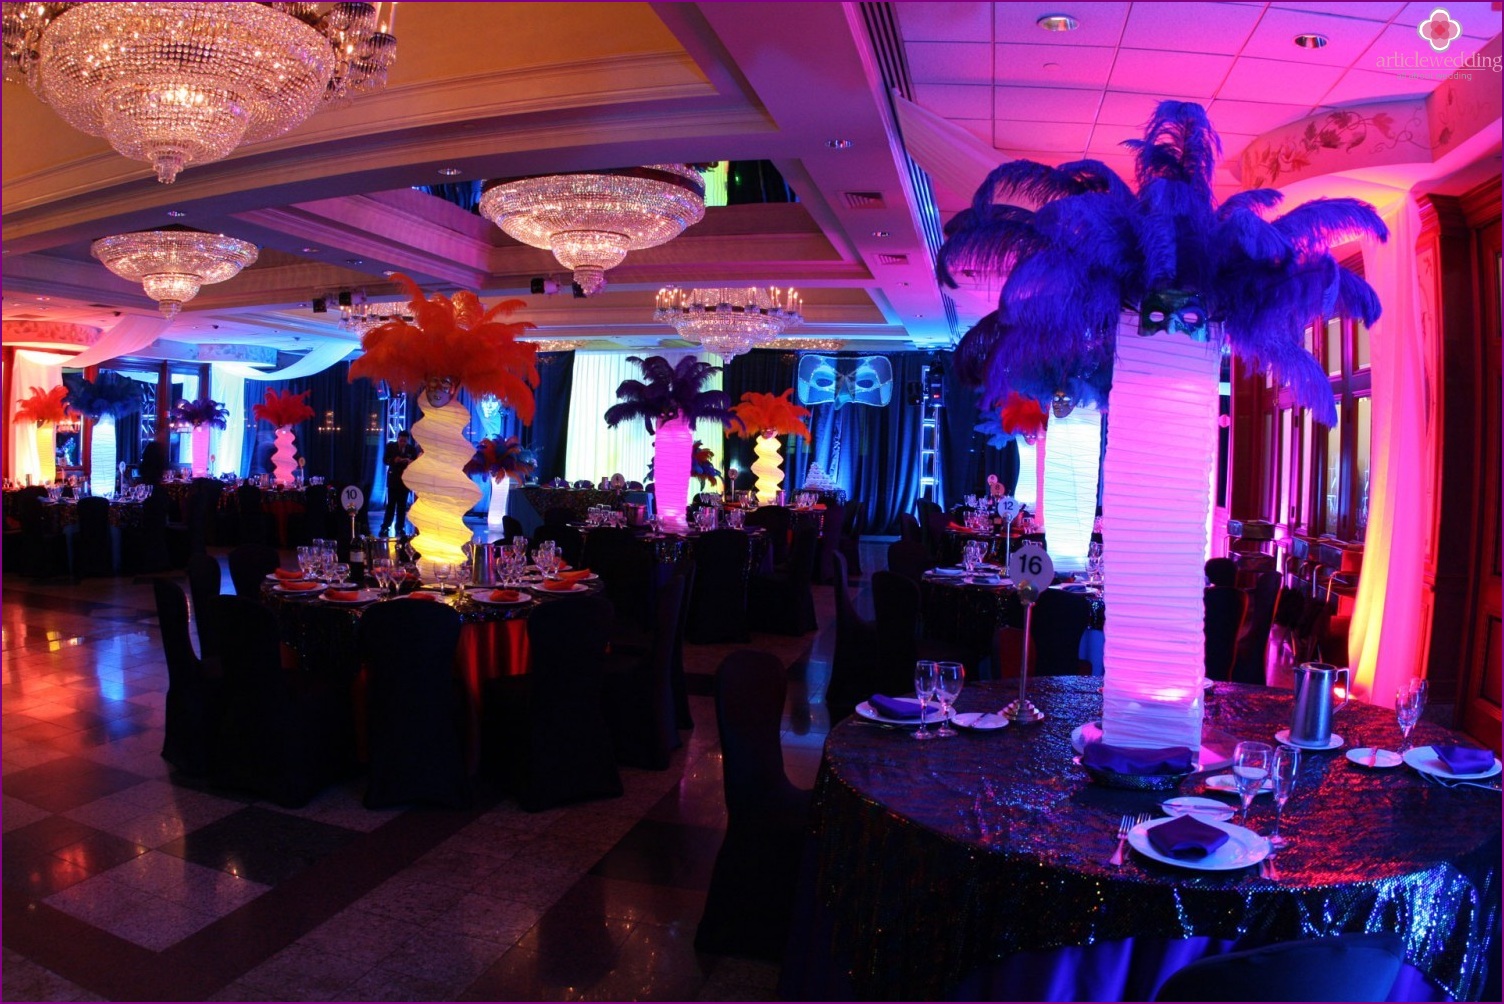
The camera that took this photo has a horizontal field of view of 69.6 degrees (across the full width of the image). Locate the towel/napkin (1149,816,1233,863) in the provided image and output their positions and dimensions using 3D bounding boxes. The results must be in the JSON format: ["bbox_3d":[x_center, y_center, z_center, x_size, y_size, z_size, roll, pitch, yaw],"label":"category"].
[{"bbox_3d":[1.347,1.041,3.351,0.231,0.065,0.157,-6,14,-32],"label":"towel/napkin"}]

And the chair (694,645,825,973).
[{"bbox_3d":[0.006,1.232,4.322,0.444,1.292,0.334,1,12,2],"label":"chair"}]

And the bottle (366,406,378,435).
[{"bbox_3d":[-7.445,-1.587,21.269,0.489,0.437,0.118,-7,-5,29],"label":"bottle"}]

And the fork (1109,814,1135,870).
[{"bbox_3d":[1.163,1.070,3.399,0.046,0.036,0.337,-3,11,26],"label":"fork"}]

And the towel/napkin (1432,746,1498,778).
[{"bbox_3d":[2.458,0.894,3.711,0.111,0.030,0.116,4,8,16],"label":"towel/napkin"}]

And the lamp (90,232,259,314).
[{"bbox_3d":[-4.861,-2.034,9.106,0.925,0.352,0.900,2,-11,-25],"label":"lamp"}]

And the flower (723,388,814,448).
[{"bbox_3d":[0.216,-0.980,12.866,0.868,0.483,0.851,1,-6,4],"label":"flower"}]

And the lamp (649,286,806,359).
[{"bbox_3d":[-0.287,-2.035,12.277,1.092,0.611,1.060,2,-9,-20],"label":"lamp"}]

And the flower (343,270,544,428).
[{"bbox_3d":[-1.660,-0.839,6.339,1.021,0.633,1.002,0,-6,5],"label":"flower"}]

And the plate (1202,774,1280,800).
[{"bbox_3d":[1.617,0.962,3.644,0.128,0.018,0.131,-2,1,40],"label":"plate"}]

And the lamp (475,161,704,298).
[{"bbox_3d":[-1.504,-2.165,9.069,2.054,0.905,2.030,-12,22,-27],"label":"lamp"}]
